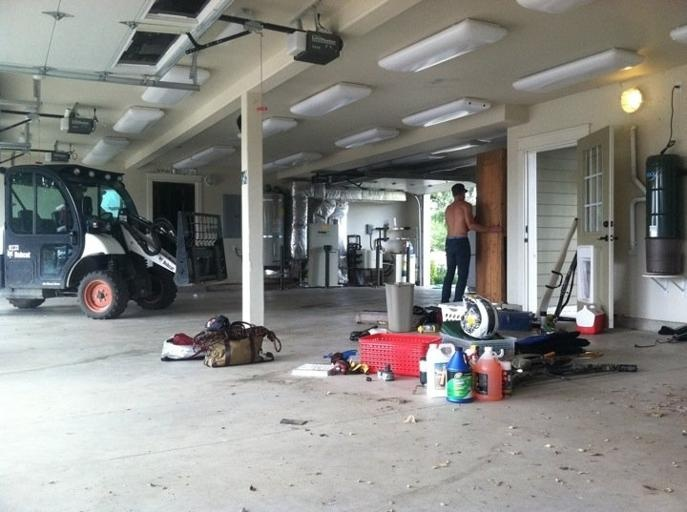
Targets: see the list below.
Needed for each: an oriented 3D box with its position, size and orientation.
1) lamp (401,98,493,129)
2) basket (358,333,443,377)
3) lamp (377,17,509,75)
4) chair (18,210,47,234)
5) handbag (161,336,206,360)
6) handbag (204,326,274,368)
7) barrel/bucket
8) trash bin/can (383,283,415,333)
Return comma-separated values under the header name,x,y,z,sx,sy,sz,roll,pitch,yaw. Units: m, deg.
name,x,y,z,sx,sy,sz,roll,pitch,yaw
lamp,1.585,-2.060,8.114,0.872,0.245,0.883,-1,0,33
basket,0.446,0.860,4.878,0.381,0.230,0.574,1,0,-42
lamp,1.053,-2.118,5.708,1.639,0.556,0.127,-8,36,-23
chair,-4.947,-0.539,8.608,0.390,0.333,0.203,0,-6,-25
handbag,-1.639,0.934,5.517,0.446,0.180,0.239,-3,-4,25
handbag,-1.008,0.863,5.346,0.729,0.371,0.297,-4,1,-32
barrel/bucket,0.930,0.880,4.104,0.606,0.365,0.371,-2,2,14
trash bin/can,0.669,0.610,6.418,0.315,0.581,0.289,-1,5,-2
